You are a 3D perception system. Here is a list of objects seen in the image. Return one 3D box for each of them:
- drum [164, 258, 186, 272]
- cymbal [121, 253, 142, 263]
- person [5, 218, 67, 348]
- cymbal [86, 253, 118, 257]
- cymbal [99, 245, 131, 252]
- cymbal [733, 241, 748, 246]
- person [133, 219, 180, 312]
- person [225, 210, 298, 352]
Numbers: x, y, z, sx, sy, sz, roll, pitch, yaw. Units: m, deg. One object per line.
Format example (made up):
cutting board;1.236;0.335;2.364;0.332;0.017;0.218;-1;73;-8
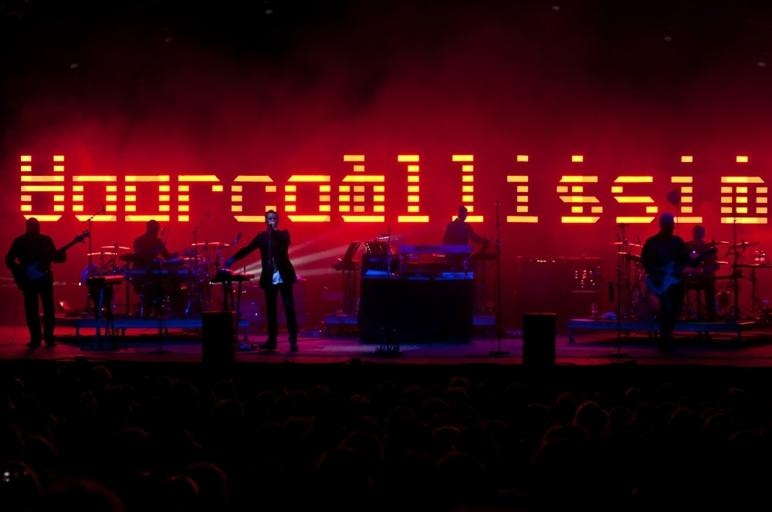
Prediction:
drum;-3.660;0.164;15.983;0.368;0.291;0.134;0;2;-11
cymbal;-4.401;0.057;15.925;0.305;0.200;0.305;2;2;33
person;-5.695;0.412;15.056;0.819;2.042;0.990;-2;3;-40
cymbal;-5.389;-0.035;17.621;0.457;0.078;0.801;0;2;-21
cymbal;-5.228;-0.136;17.792;0.576;0.147;0.571;0;2;-3
cymbal;6.344;-0.224;16.446;0.260;0.099;0.248;0;-1;6
person;-4.030;0.214;16.105;0.708;1.650;0.448;0;2;2
person;-1.856;0.362;14.426;0.932;2.167;1.201;0;2;-8
